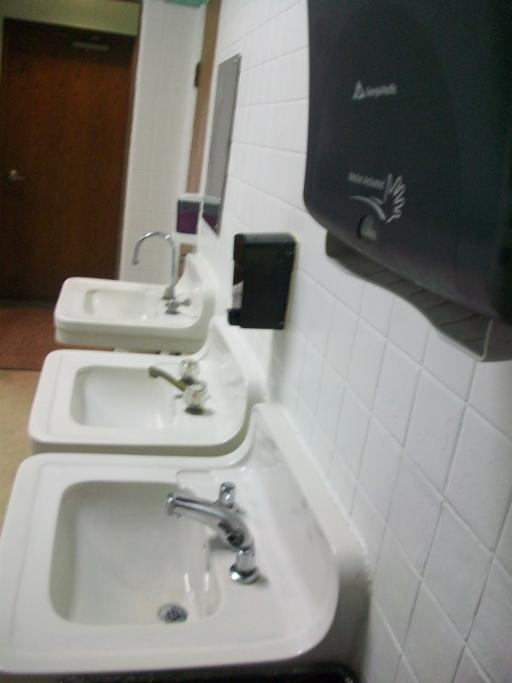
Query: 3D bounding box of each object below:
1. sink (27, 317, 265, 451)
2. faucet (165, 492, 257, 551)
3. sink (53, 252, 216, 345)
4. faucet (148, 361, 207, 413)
[{"bbox_3d":[-0.294,0.165,1.392,0.397,0.271,0.431,9,31,-18],"label":"sink"},{"bbox_3d":[-0.079,0.328,0.951,0.158,0.081,0.046,31,34,-25],"label":"faucet"},{"bbox_3d":[-0.477,-0.077,1.999,0.473,0.223,0.515,5,28,-18],"label":"sink"},{"bbox_3d":[-0.229,0.108,1.469,0.165,0.082,0.062,31,25,22],"label":"faucet"}]
